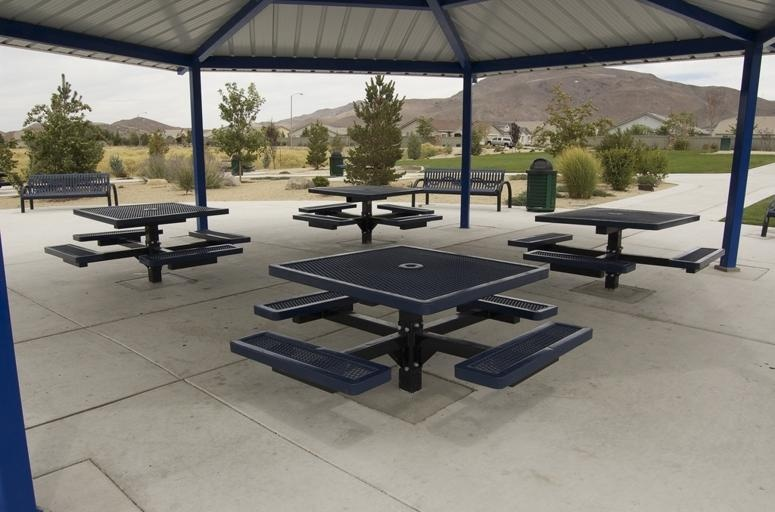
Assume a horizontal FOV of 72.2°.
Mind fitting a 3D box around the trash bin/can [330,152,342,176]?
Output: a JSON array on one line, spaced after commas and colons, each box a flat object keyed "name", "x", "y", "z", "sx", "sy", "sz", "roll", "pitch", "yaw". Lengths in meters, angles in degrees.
[{"name": "trash bin/can", "x": -3.064, "y": -5.303, "z": 31.060, "sx": 0.736, "sy": 1.375, "sz": 1.361, "roll": -5, "pitch": 13, "yaw": -5}]

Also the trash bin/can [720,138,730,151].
[{"name": "trash bin/can", "x": 41.875, "y": -13.843, "z": 65.954, "sx": 1.292, "sy": 1.511, "sz": 3.241, "roll": 5, "pitch": 13, "yaw": 29}]
